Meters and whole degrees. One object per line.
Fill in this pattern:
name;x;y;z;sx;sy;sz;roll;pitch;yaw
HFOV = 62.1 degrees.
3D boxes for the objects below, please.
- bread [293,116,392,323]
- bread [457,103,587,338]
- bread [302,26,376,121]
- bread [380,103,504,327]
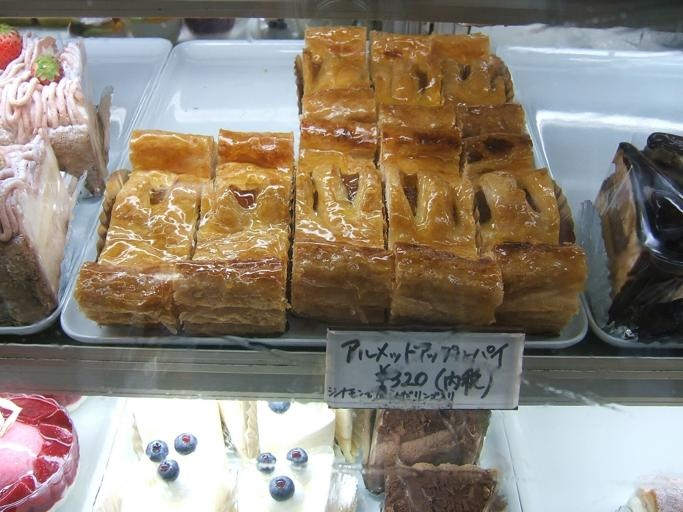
bread;-0.001;-0.082;1.518;0.275;0.238;0.669;4;56;-1
bread;0.478;-0.085;1.543;0.268;0.278;0.774;-6;53;0
bread;-0.025;-0.672;1.952;0.221;0.096;0.313;1;51;-4
bread;0.251;-0.142;1.587;0.279;0.148;0.748;1;51;-3
